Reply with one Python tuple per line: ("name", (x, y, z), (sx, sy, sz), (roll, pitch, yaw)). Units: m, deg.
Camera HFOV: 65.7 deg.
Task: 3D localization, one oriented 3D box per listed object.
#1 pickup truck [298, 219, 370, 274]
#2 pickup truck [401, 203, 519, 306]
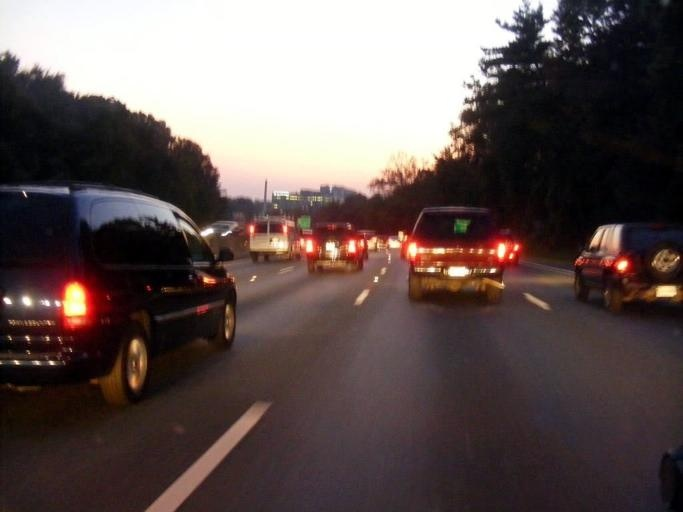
("pickup truck", (-0.278, -0.477, 27.356), (2.459, 2.532, 3.035), (1, 2, 17))
("pickup truck", (3.101, -0.041, 14.096), (1.533, 1.892, 3.353), (0, 9, 7))
